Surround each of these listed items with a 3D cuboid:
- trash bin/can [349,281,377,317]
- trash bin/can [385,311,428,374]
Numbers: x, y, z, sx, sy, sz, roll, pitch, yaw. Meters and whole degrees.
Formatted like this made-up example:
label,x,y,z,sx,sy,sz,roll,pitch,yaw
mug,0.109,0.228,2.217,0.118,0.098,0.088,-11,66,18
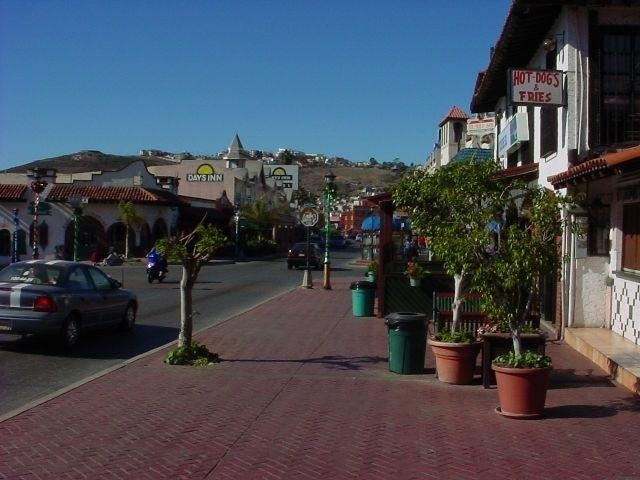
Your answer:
label,x,y,z,sx,sy,sz,roll,pitch,yaw
trash bin/can,1.011,1.670,19.537,0.898,0.958,0.857,4,-9,-27
trash bin/can,1.552,1.887,12.870,0.825,1.052,0.695,1,0,0
